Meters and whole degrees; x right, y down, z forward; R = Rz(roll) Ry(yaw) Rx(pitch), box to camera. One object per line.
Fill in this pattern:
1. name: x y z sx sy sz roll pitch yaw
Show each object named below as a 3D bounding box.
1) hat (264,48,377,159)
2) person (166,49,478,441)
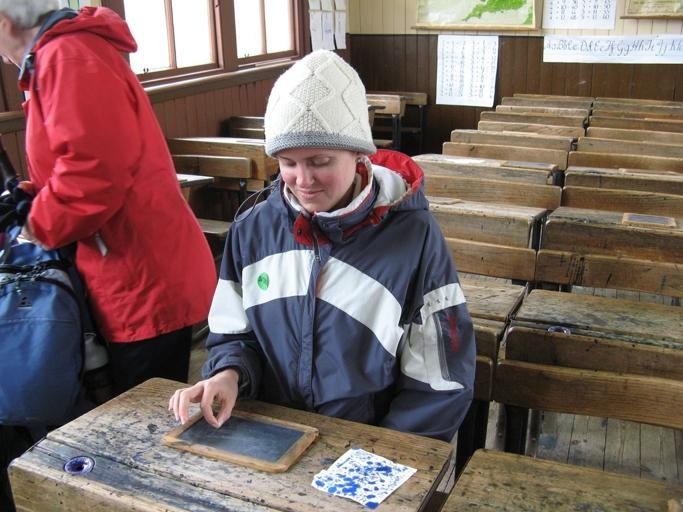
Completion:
1. hat: -0.044 -0.331 1.209 0.208 0.188 0.238 1 6 8
2. person: -0.052 -0.015 1.241 0.704 0.872 0.383 -5 20 -8
